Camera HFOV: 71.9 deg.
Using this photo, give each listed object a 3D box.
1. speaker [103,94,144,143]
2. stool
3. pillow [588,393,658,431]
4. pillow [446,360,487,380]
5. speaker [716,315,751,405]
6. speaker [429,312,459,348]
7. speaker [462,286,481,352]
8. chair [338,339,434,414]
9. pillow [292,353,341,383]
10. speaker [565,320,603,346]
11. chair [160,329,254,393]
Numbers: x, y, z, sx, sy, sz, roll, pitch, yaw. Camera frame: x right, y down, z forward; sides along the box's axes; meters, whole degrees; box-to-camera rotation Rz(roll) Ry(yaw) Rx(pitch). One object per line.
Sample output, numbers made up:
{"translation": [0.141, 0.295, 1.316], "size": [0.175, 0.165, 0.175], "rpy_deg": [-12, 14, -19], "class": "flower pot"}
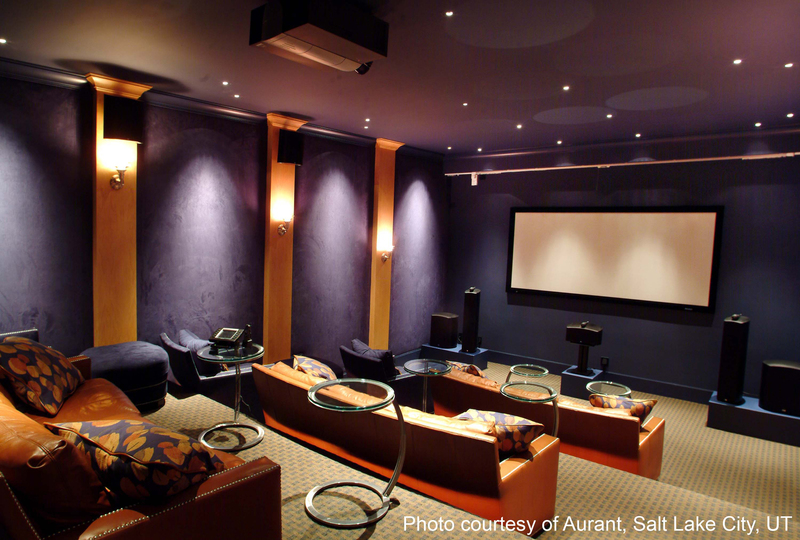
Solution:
{"translation": [-3.058, -1.657, 6.166], "size": [0.450, 0.464, 0.481], "rpy_deg": [2, 5, 13], "class": "speaker"}
{"translation": [-2.749, 0.975, 5.556], "size": [0.711, 0.481, 0.668], "rpy_deg": [5, -6, 39], "class": "stool"}
{"translation": [2.131, 1.352, 5.292], "size": [0.598, 0.170, 0.583], "rpy_deg": [-3, -1, 35], "class": "pillow"}
{"translation": [0.809, 1.071, 5.947], "size": [0.420, 0.137, 0.429], "rpy_deg": [5, 2, -27], "class": "pillow"}
{"translation": [4.338, 1.118, 7.109], "size": [0.292, 1.011, 0.552], "rpy_deg": [7, 4, 38], "class": "speaker"}
{"translation": [0.761, 1.017, 9.350], "size": [0.568, 0.739, 0.421], "rpy_deg": [1, -1, 40], "class": "speaker"}
{"translation": [1.175, 0.822, 9.081], "size": [0.257, 1.028, 0.246], "rpy_deg": [5, 3, 5], "class": "speaker"}
{"translation": [-0.145, 1.151, 6.465], "size": [0.744, 0.793, 1.207], "rpy_deg": [-3, 4, -36], "class": "chair"}
{"translation": [-0.819, 0.881, 5.288], "size": [0.410, 0.121, 0.384], "rpy_deg": [21, -2, 38], "class": "pillow"}
{"translation": [2.761, 0.922, 8.057], "size": [0.353, 0.337, 0.497], "rpy_deg": [4, -5, -42], "class": "speaker"}
{"translation": [-2.172, 1.003, 6.204], "size": [0.765, 0.611, 0.812], "rpy_deg": [2, 11, -44], "class": "chair"}
